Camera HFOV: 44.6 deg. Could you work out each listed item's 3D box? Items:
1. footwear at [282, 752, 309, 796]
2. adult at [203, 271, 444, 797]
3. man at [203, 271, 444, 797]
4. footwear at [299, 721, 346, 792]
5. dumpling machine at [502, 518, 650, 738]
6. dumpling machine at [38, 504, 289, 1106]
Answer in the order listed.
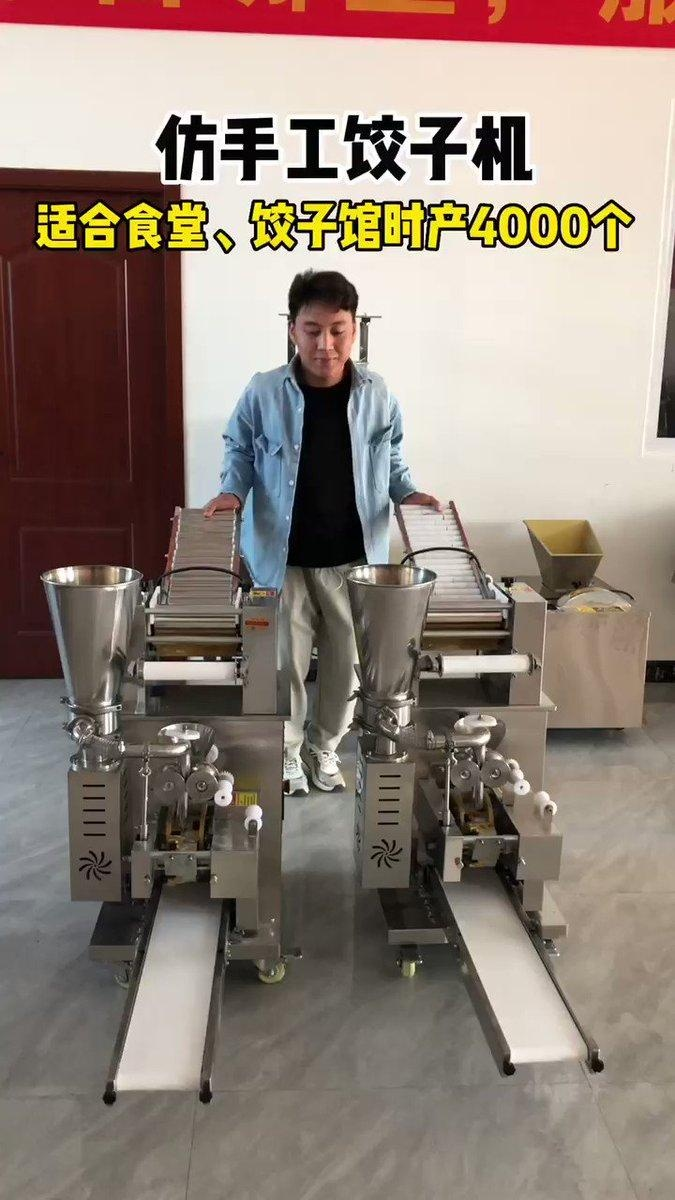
[{"bbox_3d":[-0.140,0.567,2.685,0.069,0.114,0.230,1,0,-5],"label":"footwear"},{"bbox_3d":[-0.066,-0.156,2.365,0.551,1.475,0.415,-2,18,-11],"label":"adult"},{"bbox_3d":[-0.106,-0.148,2.343,0.565,1.469,0.437,-3,17,-13],"label":"man"},{"bbox_3d":[-0.060,0.513,2.779,0.088,0.131,0.266,-5,26,-19],"label":"footwear"},{"bbox_3d":[1.000,0.074,3.429,0.336,0.749,0.740,-4,11,0],"label":"dumpling machine"},{"bbox_3d":[-0.306,0.315,1.573,0.329,0.782,1.022,1,23,-4],"label":"dumpling machine"}]
